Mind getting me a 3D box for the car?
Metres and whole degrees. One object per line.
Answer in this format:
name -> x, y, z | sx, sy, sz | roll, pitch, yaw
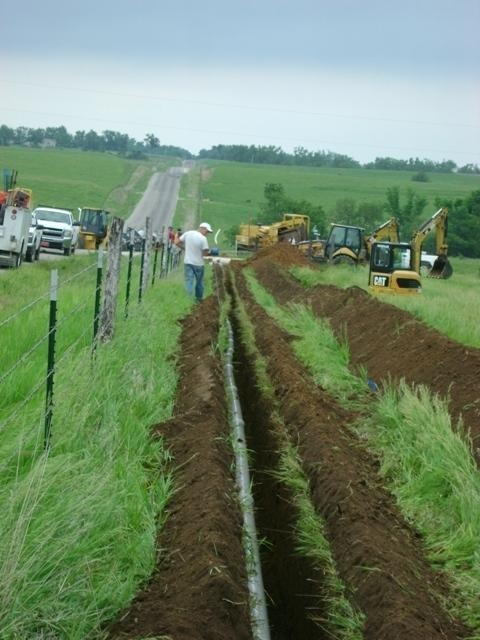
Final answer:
car -> -8.336, -4.078, 24.417 | 1.432, 1.381, 3.237 | 1, 3, -3
